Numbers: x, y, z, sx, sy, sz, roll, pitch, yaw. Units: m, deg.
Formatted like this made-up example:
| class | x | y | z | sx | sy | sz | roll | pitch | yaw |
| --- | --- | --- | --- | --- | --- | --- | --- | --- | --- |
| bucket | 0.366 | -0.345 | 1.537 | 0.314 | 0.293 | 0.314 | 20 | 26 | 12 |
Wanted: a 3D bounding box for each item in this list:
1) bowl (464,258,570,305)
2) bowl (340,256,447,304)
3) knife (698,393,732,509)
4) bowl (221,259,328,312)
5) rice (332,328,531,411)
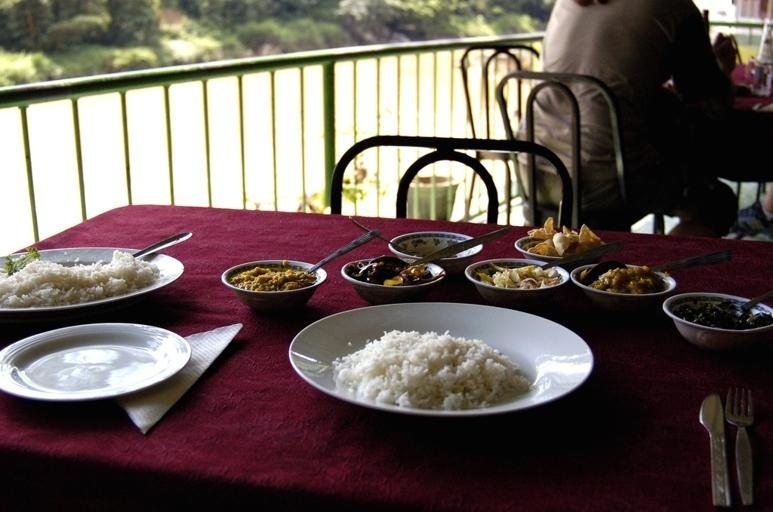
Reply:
| class | x | y | z | sx | sy | sz | roll | pitch | yaw |
| --- | --- | --- | --- | --- | --- | --- | --- | --- | --- |
| bowl | 0.251 | 0.025 | 1.373 | 0.224 | 0.075 | 0.251 | -6 | 10 | -35 |
| bowl | 0.013 | 0.053 | 1.375 | 0.221 | 0.079 | 0.220 | 0 | 12 | 0 |
| knife | 0.469 | 0.275 | 0.981 | 0.034 | 0.016 | 0.227 | -4 | 38 | 18 |
| bowl | -0.211 | 0.031 | 1.345 | 0.241 | 0.091 | 0.217 | -4 | 9 | -9 |
| rice | 0.067 | 0.175 | 1.060 | 0.211 | 0.061 | 0.127 | 4 | 17 | -5 |
